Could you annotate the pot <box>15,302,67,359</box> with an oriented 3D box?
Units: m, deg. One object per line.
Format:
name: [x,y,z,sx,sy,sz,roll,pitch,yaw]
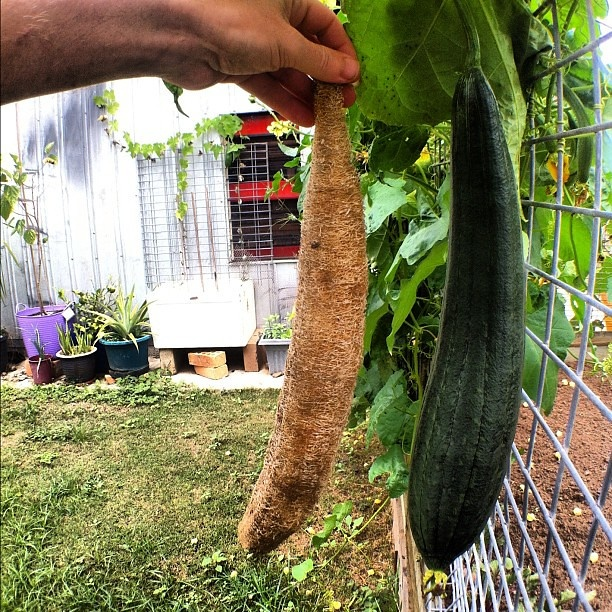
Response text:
pot: [-2.244,0.186,4.012,0.469,0.504,0.430,1,2,0]

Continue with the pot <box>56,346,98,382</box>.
pot: [-1.792,0.471,3.742,0.261,0.209,0.271,-1,10,0]

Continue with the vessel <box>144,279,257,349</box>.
vessel: [-0.826,0.078,3.903,0.634,0.430,0.677,-2,4,7]

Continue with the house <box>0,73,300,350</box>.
house: [-1.327,-0.905,5.020,2.412,2.462,0.595,-9,3,13]

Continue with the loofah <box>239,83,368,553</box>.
loofah: [0.023,0.053,0.650,0.124,0.634,0.114,1,11,-39]

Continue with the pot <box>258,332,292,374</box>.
pot: [-0.241,0.376,3.693,0.248,0.248,0.219,2,9,-16]

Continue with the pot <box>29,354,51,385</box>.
pot: [-2.137,0.512,3.770,0.154,0.224,0.160,-5,9,1]

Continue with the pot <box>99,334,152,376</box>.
pot: [-1.456,0.404,3.796,0.326,0.264,0.343,0,2,0]

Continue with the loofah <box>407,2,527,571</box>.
loofah: [0.149,0.002,0.441,0.117,0.518,0.084,-9,10,-24]
